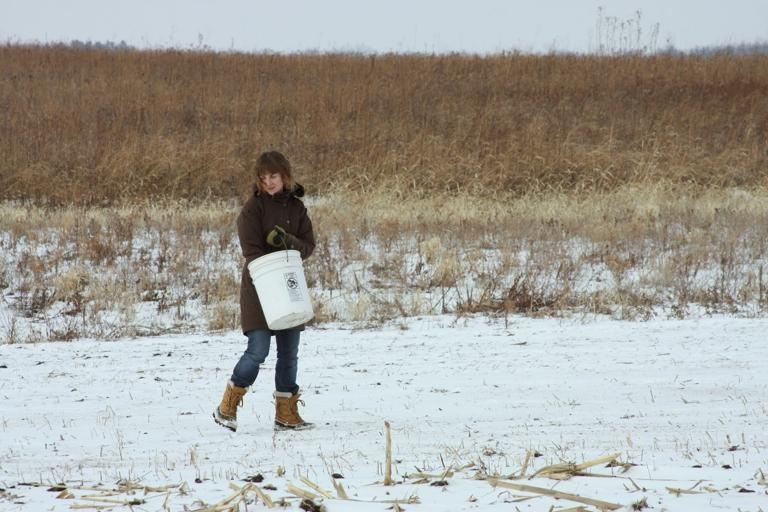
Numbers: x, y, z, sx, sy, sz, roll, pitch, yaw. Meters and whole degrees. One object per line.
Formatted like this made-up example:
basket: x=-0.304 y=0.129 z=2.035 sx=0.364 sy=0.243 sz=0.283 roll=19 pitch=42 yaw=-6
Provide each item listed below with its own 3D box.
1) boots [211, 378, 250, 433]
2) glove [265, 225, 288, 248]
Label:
boots: x=-2.757 y=2.746 z=25.861 sx=0.331 sy=0.763 sz=0.764 roll=25 pitch=11 yaw=-32
glove: x=-1.940 y=-0.324 z=25.826 sx=0.366 sy=0.414 sz=0.300 roll=-14 pitch=-22 yaw=14
